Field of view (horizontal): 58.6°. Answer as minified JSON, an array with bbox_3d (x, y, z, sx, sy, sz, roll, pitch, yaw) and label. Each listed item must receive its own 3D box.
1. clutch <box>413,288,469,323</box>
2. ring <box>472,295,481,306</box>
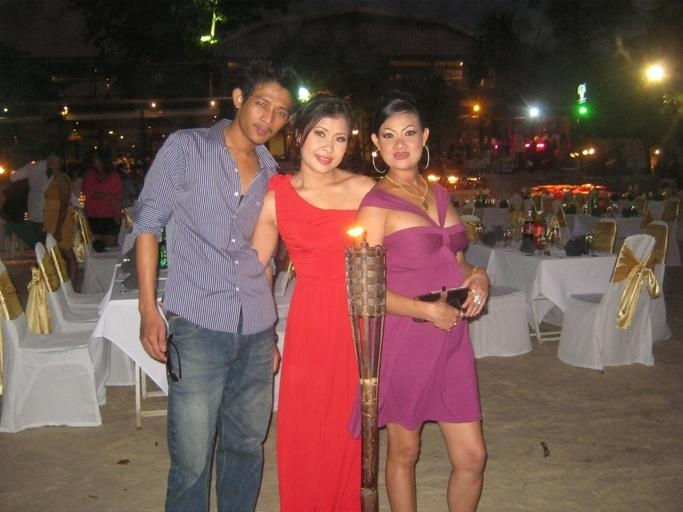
[{"bbox_3d":[0.571,0.248,3.377,0.299,0.128,0.065,-2,14,-6],"label":"clutch"},{"bbox_3d":[0.780,0.256,3.472,0.035,0.056,0.013,2,-10,-5],"label":"ring"}]
